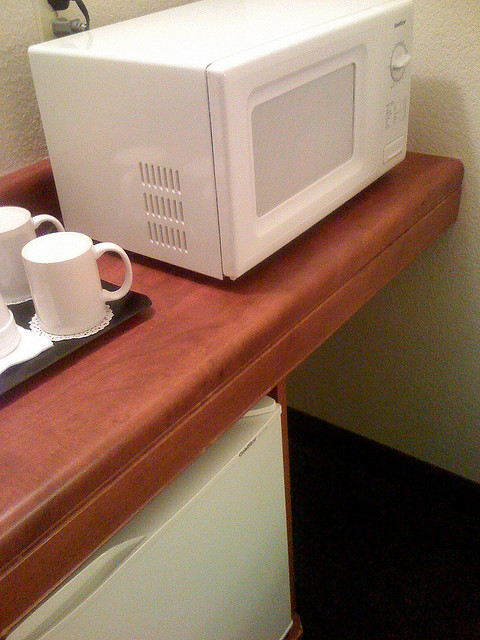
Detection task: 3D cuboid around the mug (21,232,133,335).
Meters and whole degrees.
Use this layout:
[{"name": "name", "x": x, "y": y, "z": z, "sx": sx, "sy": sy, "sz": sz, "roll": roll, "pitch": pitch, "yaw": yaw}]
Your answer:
[{"name": "mug", "x": -0.170, "y": -0.036, "z": 0.519, "sx": 0.090, "sy": 0.099, "sz": 0.079, "roll": 6, "pitch": 39, "yaw": 18}]
